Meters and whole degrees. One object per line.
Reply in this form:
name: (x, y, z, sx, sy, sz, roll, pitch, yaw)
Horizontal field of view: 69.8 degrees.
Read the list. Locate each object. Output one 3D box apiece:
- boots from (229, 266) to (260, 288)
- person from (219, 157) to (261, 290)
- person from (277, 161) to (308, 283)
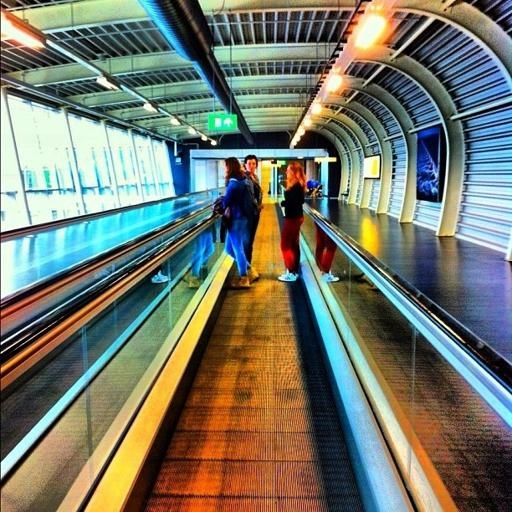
boots: (-0.285, 0.352, 6.143, 0.579, 0.458, 0.217, 1, 7, 35)
person: (-0.267, -0.489, 5.800, 0.545, 2.058, 0.790, -2, 10, 0)
person: (0.606, -0.539, 6.086, 0.440, 1.986, 0.442, -1, 10, 3)
